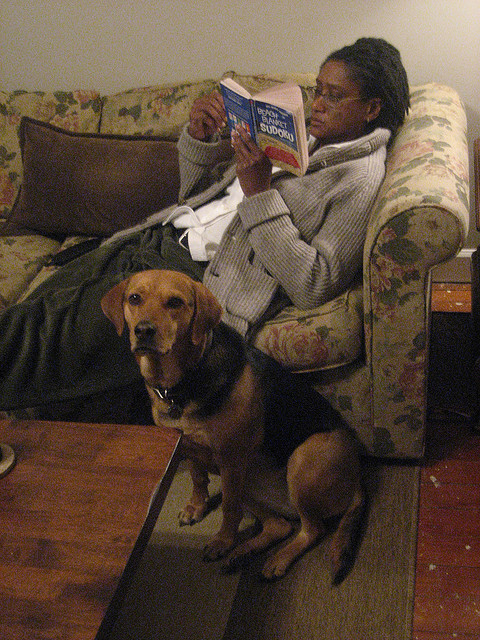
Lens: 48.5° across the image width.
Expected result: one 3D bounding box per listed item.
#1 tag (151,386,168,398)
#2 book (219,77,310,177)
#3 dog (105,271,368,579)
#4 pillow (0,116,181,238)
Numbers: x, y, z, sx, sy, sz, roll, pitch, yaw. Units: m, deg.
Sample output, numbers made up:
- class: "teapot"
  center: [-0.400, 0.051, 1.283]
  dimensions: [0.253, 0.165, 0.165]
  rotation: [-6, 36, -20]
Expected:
- class: "tag"
  center: [-0.177, 0.151, 1.131]
  dimensions: [0.018, 0.026, 0.010]
  rotation: [1, 22, 36]
- class: "book"
  center: [0.065, -0.378, 1.023]
  dimensions: [0.191, 0.199, 0.074]
  rotation: [24, 53, 31]
- class: "dog"
  center: [0.005, 0.213, 1.190]
  dimensions: [0.530, 0.703, 0.470]
  rotation: [-8, 19, -17]
- class: "pillow"
  center: [-0.419, -0.413, 1.553]
  dimensions: [0.427, 0.285, 0.117]
  rotation: [4, 5, 13]
